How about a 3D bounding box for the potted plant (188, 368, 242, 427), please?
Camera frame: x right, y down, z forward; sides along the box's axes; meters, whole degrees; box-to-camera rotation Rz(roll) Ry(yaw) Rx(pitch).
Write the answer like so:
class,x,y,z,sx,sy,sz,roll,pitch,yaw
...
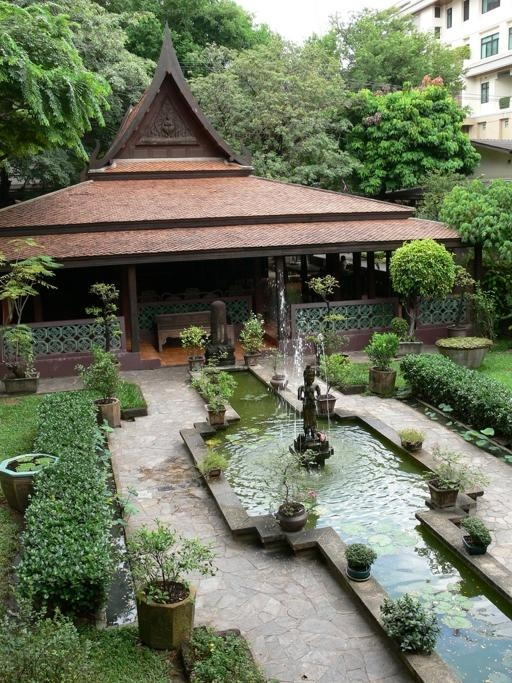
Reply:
class,x,y,z,sx,sy,sz,roll,pitch,yaw
potted plant,-0.734,1.082,10.494,0.731,1.031,1.369,-6,7,-4
